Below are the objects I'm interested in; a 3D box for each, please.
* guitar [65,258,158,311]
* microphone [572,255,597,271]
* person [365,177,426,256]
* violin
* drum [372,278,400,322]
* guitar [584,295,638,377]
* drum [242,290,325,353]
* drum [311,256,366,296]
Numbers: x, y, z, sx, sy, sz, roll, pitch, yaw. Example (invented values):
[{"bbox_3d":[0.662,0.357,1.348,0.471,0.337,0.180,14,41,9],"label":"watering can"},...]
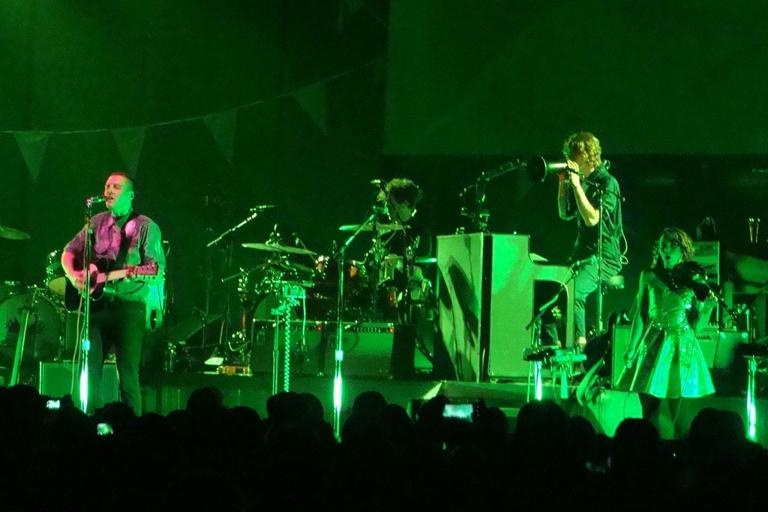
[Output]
[{"bbox_3d":[-2.078,0.220,7.021,0.735,0.421,0.426,2,11,-6],"label":"guitar"},{"bbox_3d":[1.669,0.047,7.767,0.199,0.134,0.127,6,11,12],"label":"microphone"},{"bbox_3d":[0.141,-0.410,9.269,0.705,0.695,1.051,-2,36,4],"label":"person"},{"bbox_3d":[2.384,0.298,6.913,0.303,0.595,0.121,-35,-37,7],"label":"violin"},{"bbox_3d":[0.025,0.375,8.848,0.276,0.410,0.285,0,31,0],"label":"drum"},{"bbox_3d":[1.834,0.632,7.385,0.150,0.649,0.367,4,23,-45],"label":"guitar"},{"bbox_3d":[-1.020,0.657,9.127,0.432,0.665,0.670,-3,-7,-33],"label":"drum"},{"bbox_3d":[-0.416,0.187,8.925,0.516,0.378,0.441,2,11,-5],"label":"drum"}]
